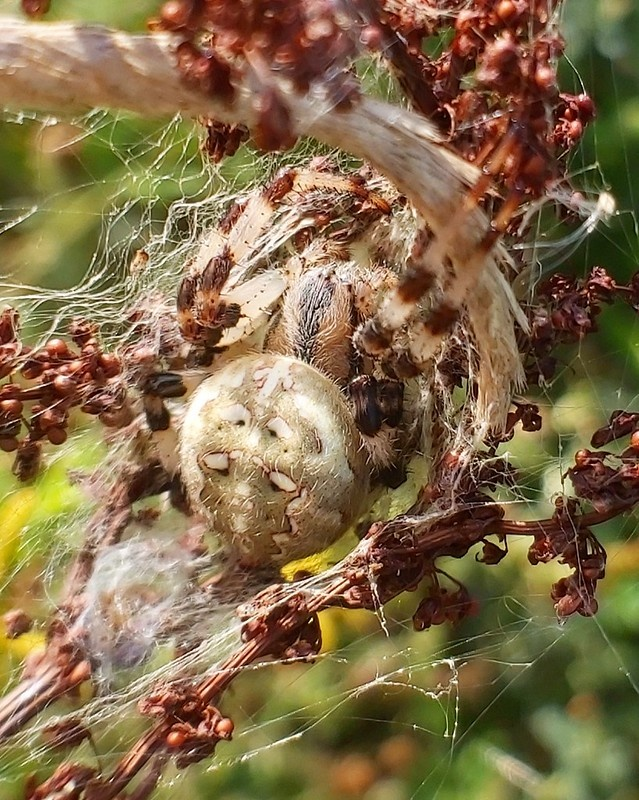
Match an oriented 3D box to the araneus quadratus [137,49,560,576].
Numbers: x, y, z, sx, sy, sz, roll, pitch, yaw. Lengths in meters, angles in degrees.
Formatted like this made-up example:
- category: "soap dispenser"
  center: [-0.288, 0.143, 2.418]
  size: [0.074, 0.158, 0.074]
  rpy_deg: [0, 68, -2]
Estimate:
- category: "araneus quadratus"
  center: [0.043, -0.050, 0.462]
  size: [0.083, 0.176, 0.221]
  rpy_deg: [-33, 117, -29]
